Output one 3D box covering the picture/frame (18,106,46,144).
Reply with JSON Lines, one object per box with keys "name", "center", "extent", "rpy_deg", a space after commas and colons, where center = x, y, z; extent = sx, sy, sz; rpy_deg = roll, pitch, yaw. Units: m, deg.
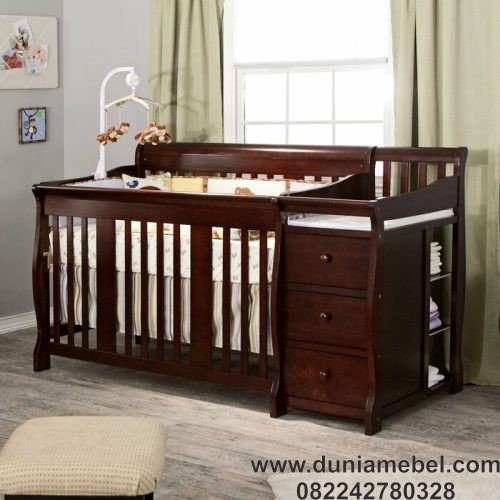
{"name": "picture/frame", "center": [-1.386, -0.803, 3.318], "extent": [0.026, 0.229, 0.201], "rpy_deg": [9, 15, 32]}
